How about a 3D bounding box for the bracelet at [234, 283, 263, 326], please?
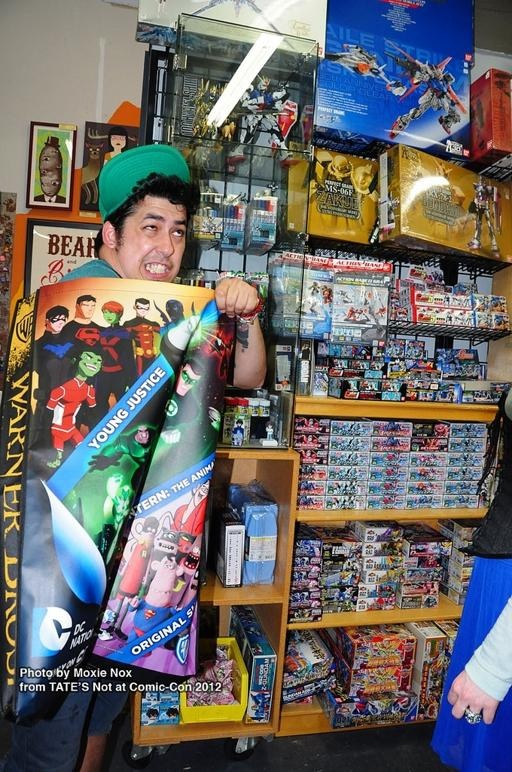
[{"bbox_3d":[-0.027,-0.215,1.560,0.036,0.108,0.089,10,22,33],"label":"bracelet"}]
